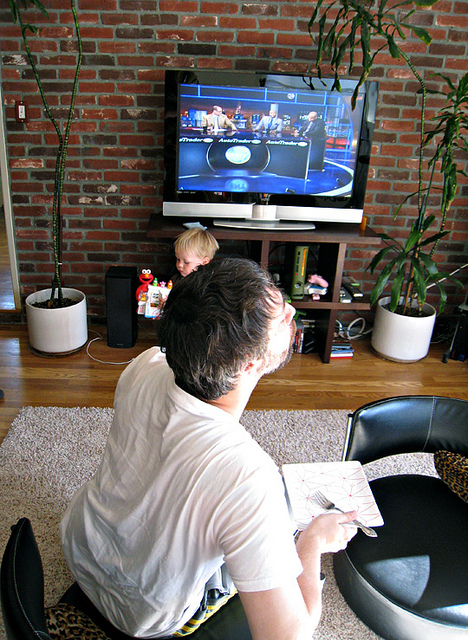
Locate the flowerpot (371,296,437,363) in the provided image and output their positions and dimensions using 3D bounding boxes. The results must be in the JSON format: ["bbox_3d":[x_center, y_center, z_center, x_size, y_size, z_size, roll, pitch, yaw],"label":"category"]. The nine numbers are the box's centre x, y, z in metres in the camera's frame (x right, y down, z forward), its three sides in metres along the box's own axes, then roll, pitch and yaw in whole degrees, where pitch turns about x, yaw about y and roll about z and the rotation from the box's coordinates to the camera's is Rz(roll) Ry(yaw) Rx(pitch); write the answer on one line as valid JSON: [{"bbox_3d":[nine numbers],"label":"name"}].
[{"bbox_3d":[1.030,0.037,3.288,0.400,0.365,0.420,4,32,1],"label":"flowerpot"}]

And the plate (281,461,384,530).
[{"bbox_3d":[0.229,0.419,1.222,0.197,0.031,0.190,0,36,-10],"label":"plate"}]

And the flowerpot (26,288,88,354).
[{"bbox_3d":[-1.064,0.015,3.147,0.389,0.339,0.408,0,24,-9],"label":"flowerpot"}]

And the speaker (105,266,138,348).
[{"bbox_3d":[-0.696,-0.071,3.090,0.170,0.500,0.178,4,23,-8],"label":"speaker"}]

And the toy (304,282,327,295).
[{"bbox_3d":[0.500,-0.199,3.101,0.100,0.045,0.072,9,11,14],"label":"toy"}]

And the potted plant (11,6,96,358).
[{"bbox_3d":[-1.026,-0.758,2.882,0.428,1.920,0.595,0,24,-15],"label":"potted plant"}]

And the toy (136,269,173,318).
[{"bbox_3d":[-0.465,-0.157,2.964,0.204,0.254,0.224,6,4,41],"label":"toy"}]

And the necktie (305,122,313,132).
[{"bbox_3d":[0.420,-1.089,2.824,0.037,0.053,0.007,-2,25,-19],"label":"necktie"}]

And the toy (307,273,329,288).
[{"bbox_3d":[0.522,-0.256,3.131,0.106,0.041,0.079,26,15,7],"label":"toy"}]

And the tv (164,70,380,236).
[{"bbox_3d":[0.176,-0.977,2.843,1.080,0.751,0.267,3,32,-5],"label":"tv"}]
